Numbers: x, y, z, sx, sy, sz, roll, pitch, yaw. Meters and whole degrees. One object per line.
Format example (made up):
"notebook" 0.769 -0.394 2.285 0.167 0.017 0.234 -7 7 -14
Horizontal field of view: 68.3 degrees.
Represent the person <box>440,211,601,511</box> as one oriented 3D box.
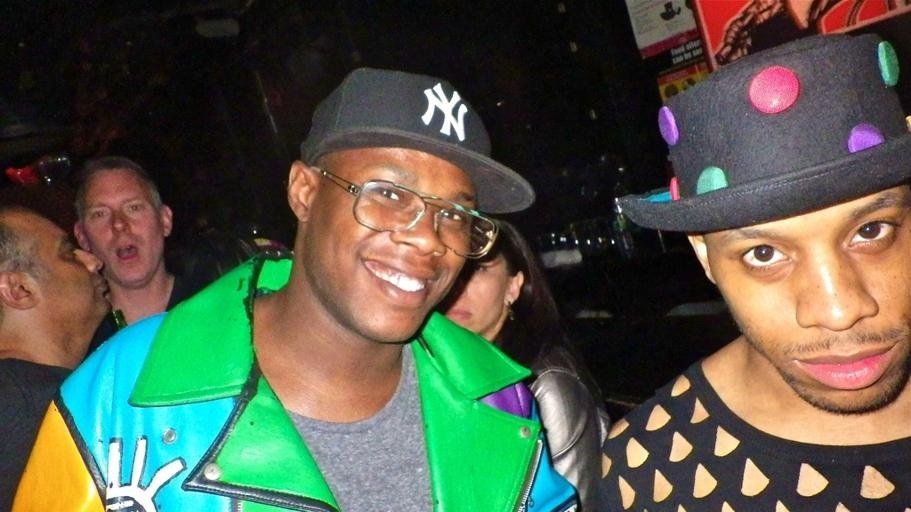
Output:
"person" 0.525 0.864 5.250 1.008 1.113 2.379 -3 29 -11
